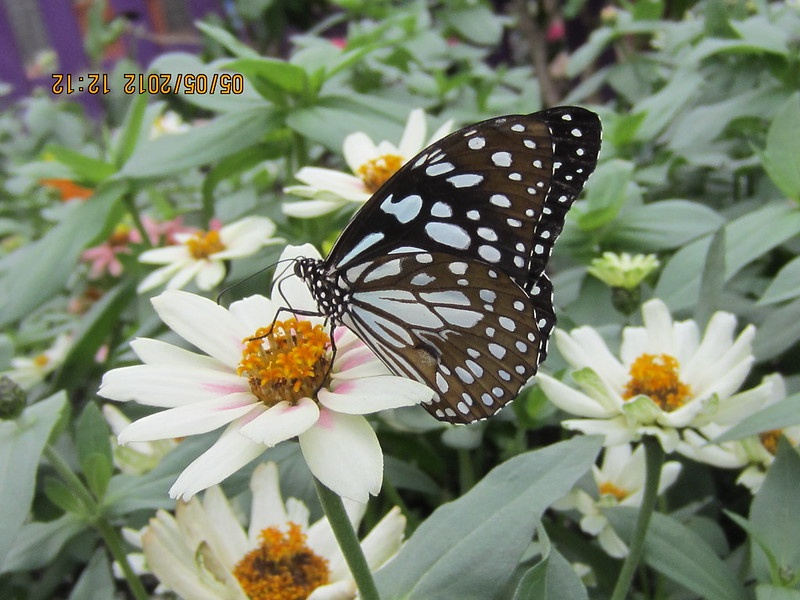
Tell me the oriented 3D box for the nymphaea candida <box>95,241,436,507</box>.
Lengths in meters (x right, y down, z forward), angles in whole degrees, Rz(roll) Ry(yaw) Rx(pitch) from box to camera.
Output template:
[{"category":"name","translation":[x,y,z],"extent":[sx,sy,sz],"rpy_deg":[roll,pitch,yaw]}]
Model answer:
[{"category":"nymphaea candida","translation":[-0.160,0.101,0.897],"extent":[0.306,0.118,0.355],"rpy_deg":[-28,67,-20]}]

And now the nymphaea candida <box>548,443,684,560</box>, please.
[{"category":"nymphaea candida","translation":[0.268,0.257,1.062],"extent":[0.080,0.157,0.162],"rpy_deg":[47,56,-15]}]

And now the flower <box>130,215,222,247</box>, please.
[{"category":"flower","translation":[-0.446,-0.134,1.552],"extent":[0.095,0.031,0.100],"rpy_deg":[-8,18,14]}]

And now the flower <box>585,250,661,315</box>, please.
[{"category":"flower","translation":[0.297,-0.016,1.106],"extent":[0.088,0.088,0.081],"rpy_deg":[-2,85,-23]}]

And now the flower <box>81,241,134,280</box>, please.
[{"category":"flower","translation":[-0.539,-0.074,1.482],"extent":[0.084,0.023,0.088],"rpy_deg":[5,75,-37]}]
